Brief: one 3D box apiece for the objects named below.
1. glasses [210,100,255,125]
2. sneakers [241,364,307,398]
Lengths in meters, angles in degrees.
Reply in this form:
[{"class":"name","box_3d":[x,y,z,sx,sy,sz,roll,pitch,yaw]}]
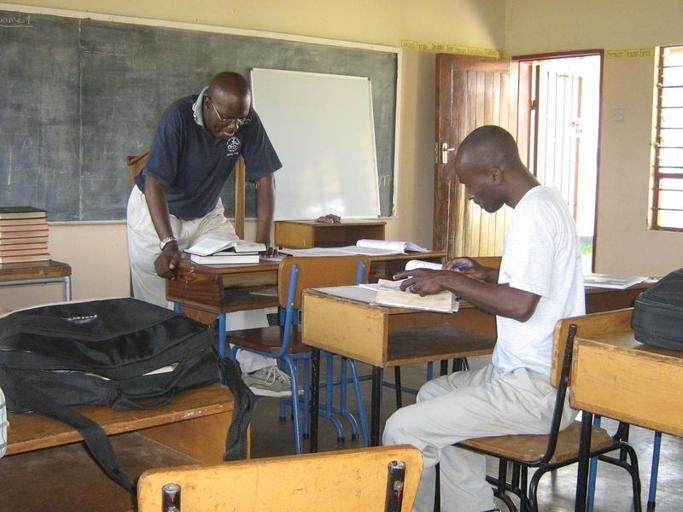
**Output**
[{"class":"glasses","box_3d":[-0.553,-0.711,3.204,0.173,0.111,0.088,-7,10,-27]},{"class":"sneakers","box_3d":[-0.385,0.666,3.404,0.267,0.140,0.366,5,-14,10]}]
